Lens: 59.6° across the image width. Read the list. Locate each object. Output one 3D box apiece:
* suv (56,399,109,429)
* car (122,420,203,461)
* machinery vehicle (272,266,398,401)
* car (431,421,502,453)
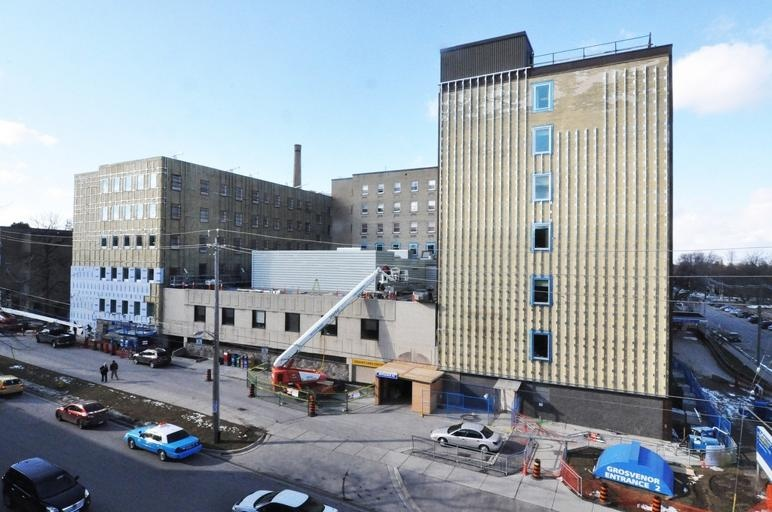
[{"bbox_3d":[-26.140,14.199,60.126,3.931,2.174,1.545,-1,-4,19],"label":"suv"},{"bbox_3d":[-18.480,15.675,56.963,6.015,2.002,2.673,9,4,28],"label":"car"},{"bbox_3d":[-4.919,7.356,69.466,12.404,12.465,7.000,1,-4,-9],"label":"machinery vehicle"},{"bbox_3d":[6.994,15.662,58.247,5.143,1.723,2.472,6,2,16],"label":"car"}]
